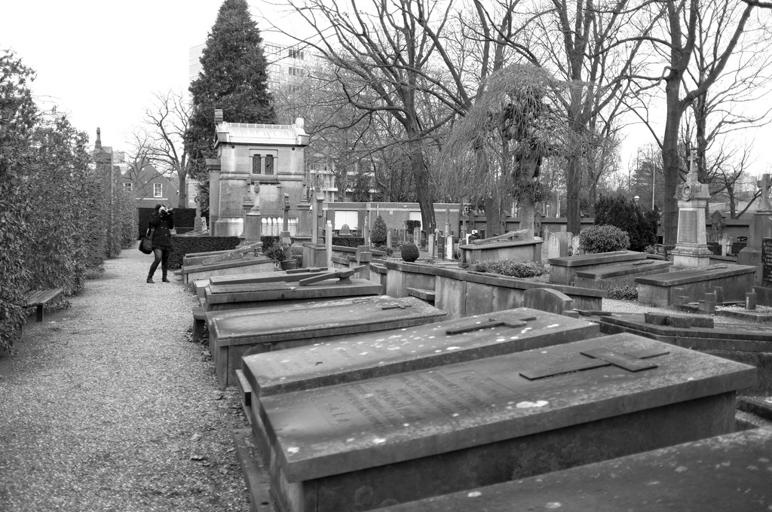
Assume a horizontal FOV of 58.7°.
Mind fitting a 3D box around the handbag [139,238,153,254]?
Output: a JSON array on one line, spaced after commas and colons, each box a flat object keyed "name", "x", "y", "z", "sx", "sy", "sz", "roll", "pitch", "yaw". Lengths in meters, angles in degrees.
[{"name": "handbag", "x": -7.044, "y": -0.277, "z": 20.166, "sx": 0.269, "sy": 0.620, "sz": 0.590, "roll": -5, "pitch": 13, "yaw": -36}]
